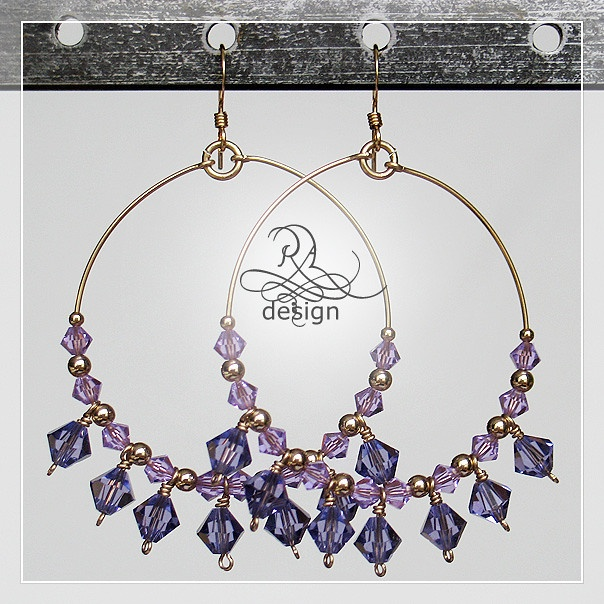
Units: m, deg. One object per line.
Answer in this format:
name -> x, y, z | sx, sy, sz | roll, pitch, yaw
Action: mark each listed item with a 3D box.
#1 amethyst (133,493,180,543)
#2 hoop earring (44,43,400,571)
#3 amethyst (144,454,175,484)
amethyst -> -0.241, 0.350, 2.353 | 0.067, 0.048, 0.072 | -20, -85, 1
hoop earring -> -0.077, 0.049, 2.224 | 0.733, 0.108, 1.148 | 2, -94, 4
amethyst -> -0.233, 0.269, 2.343 | 0.050, 0.045, 0.047 | -9, -84, 0
